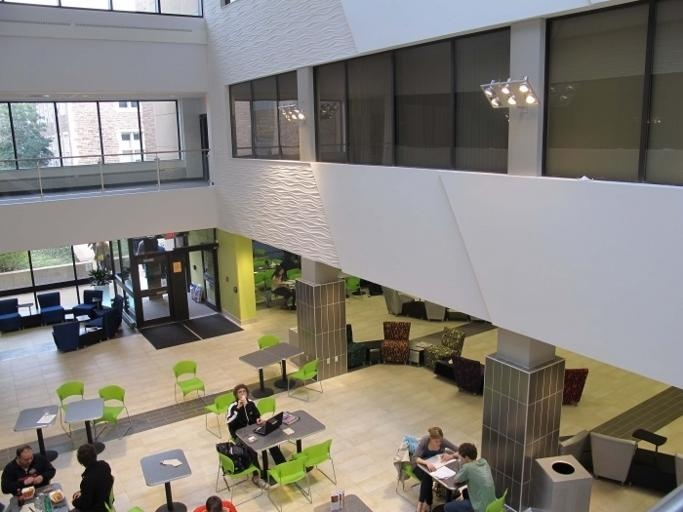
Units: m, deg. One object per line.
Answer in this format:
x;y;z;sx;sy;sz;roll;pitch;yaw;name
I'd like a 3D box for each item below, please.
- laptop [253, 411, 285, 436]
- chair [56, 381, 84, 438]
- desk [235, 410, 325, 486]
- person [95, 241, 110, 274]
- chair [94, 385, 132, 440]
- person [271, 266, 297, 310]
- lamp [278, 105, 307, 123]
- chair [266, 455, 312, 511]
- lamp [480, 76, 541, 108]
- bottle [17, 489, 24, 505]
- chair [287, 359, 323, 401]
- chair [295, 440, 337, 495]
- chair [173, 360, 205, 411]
-1.437;3.211;9.409;0.359;0.354;0.512;17;17;20;laptop
-5.972;3.430;10.997;0.676;0.919;0.656;7;14;35;chair
-1.268;3.346;9.544;1.739;0.890;1.101;-16;28;-39;desk
-9.088;0.013;18.664;0.391;1.117;1.114;-15;16;-38;person
-5.242;3.549;11.082;0.726;0.942;0.787;1;10;22;chair
-2.280;1.197;18.632;0.816;1.527;1.013;-8;13;-14;person
-1.221;-3.496;11.995;0.132;0.460;1.229;-11;14;-27;lamp
-0.967;4.277;9.090;0.599;0.970;0.673;-11;43;-19;chair
2.498;-2.414;7.230;0.872;0.533;0.309;-3;-5;-7;lamp
-5.002;3.805;7.647;0.090;0.162;0.109;-11;14;-28;bottle
-0.961;3.097;12.532;0.724;0.944;0.651;-1;8;30;chair
-0.504;3.886;9.259;0.669;0.821;0.679;-3;3;-11;chair
-3.792;3.213;12.214;0.756;0.931;0.756;-2;13;-20;chair
